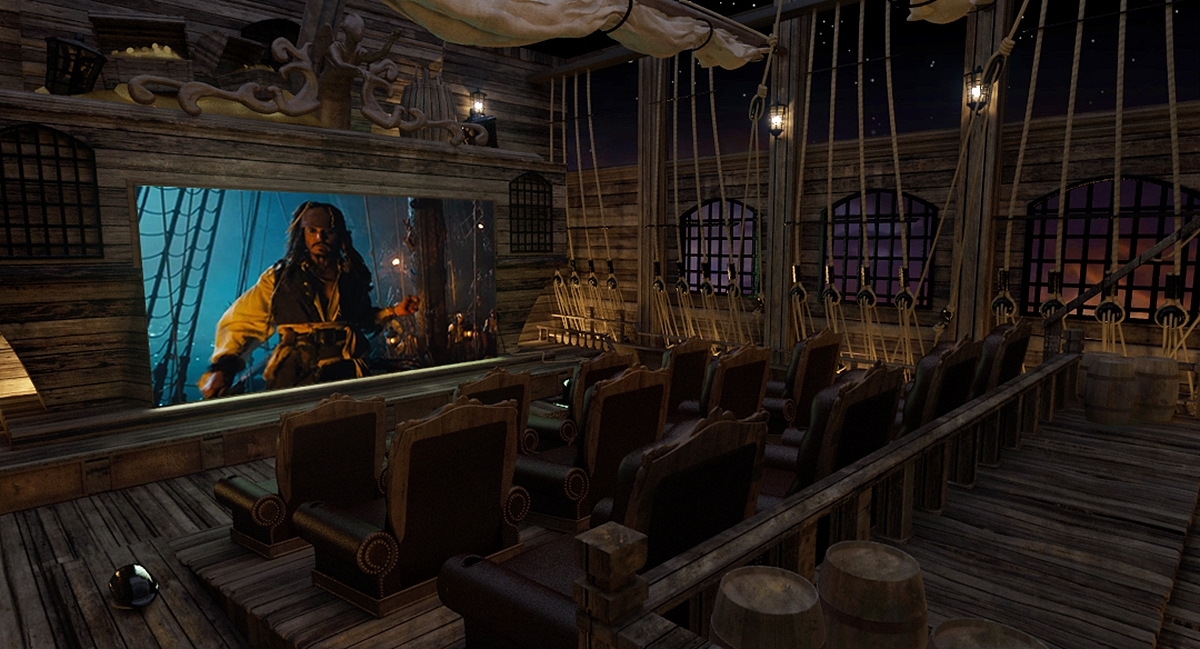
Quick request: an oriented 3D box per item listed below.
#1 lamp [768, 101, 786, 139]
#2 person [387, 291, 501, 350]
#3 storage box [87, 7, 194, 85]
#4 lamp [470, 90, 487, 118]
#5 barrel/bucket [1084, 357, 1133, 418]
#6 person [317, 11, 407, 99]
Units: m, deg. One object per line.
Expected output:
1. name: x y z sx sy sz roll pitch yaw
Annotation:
1. lamp: 2.728 -3.152 10.189 0.251 0.531 0.177 4 12 13
2. person: -2.534 -0.027 10.550 1.057 0.591 1.064 2 4 43
3. storage box: -6.696 -3.994 9.675 1.224 1.176 0.738 -5 13 -32
4. lamp: -2.330 -4.194 12.540 0.291 0.589 0.772 -1 10 -10
5. barrel/bucket: 5.867 0.752 7.631 0.491 0.715 0.354 8 13 32
6. person: -3.712 -4.067 9.963 1.024 1.130 1.983 -3 11 -21
